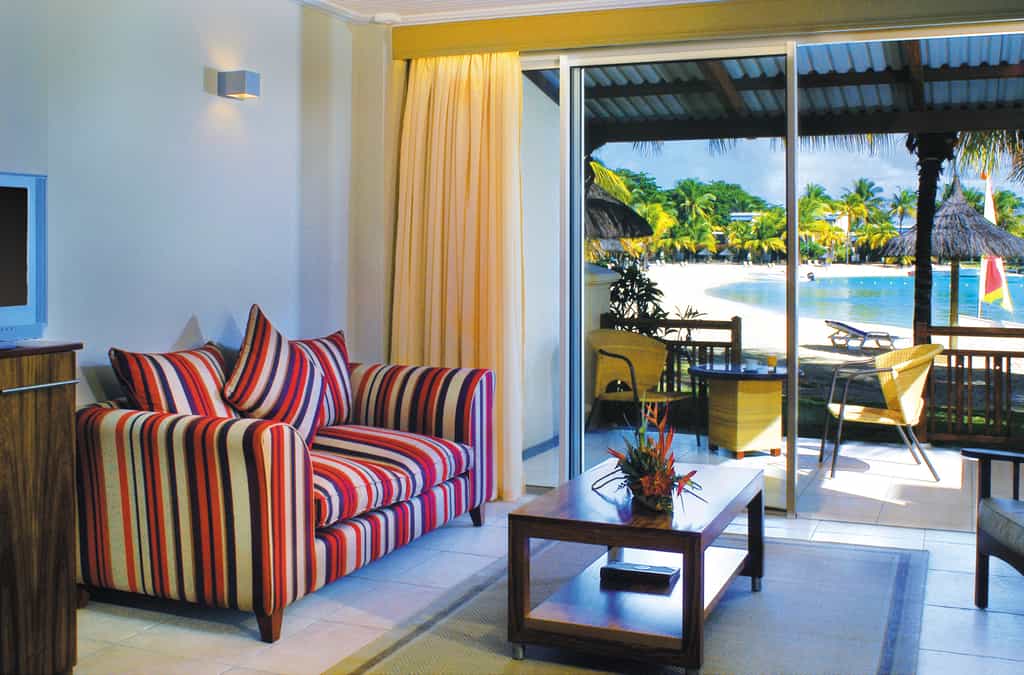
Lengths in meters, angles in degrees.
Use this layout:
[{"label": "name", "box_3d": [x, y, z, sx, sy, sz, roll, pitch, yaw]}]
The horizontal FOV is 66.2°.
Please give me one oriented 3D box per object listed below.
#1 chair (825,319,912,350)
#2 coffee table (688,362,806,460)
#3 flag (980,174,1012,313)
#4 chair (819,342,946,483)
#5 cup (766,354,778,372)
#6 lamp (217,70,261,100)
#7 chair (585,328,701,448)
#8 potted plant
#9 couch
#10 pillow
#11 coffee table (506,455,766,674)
[{"label": "chair", "box_3d": [3.388, -0.011, 7.582, 0.580, 0.229, 0.329, -1, 2, 5]}, {"label": "coffee table", "box_3d": [1.553, 0.519, 5.259, 0.621, 0.522, 0.650, 1, 0, 15]}, {"label": "flag", "box_3d": [4.545, -0.859, 7.342, 0.271, 1.290, 0.194, 3, 8, 28]}, {"label": "chair", "box_3d": [2.924, 0.566, 6.285, 0.985, 1.021, 0.893, 1, 3, -10]}, {"label": "cup", "box_3d": [1.681, 0.173, 5.143, 0.085, 0.131, 0.085, -1, 1, 0]}, {"label": "lamp", "box_3d": [-1.562, -1.434, 4.515, 0.187, 0.121, 0.185, 0, 2, 11]}, {"label": "chair", "box_3d": [0.855, 0.349, 5.220, 0.662, 0.719, 0.566, 0, 2, -32]}, {"label": "potted plant", "box_3d": [0.663, 0.563, 3.484, 0.434, 0.482, 0.333, 0, 10, -5]}, {"label": "couch", "box_3d": [-1.106, 0.732, 4.527, 1.129, 0.919, 2.155, 2, 4, 24]}, {"label": "pillow", "box_3d": [-1.584, 0.207, 4.231, 0.677, 0.741, 1.435, -2, -2, 36]}, {"label": "coffee table", "box_3d": [0.501, 0.760, 3.463, 0.770, 0.570, 1.191, 0, 3, 25]}]
